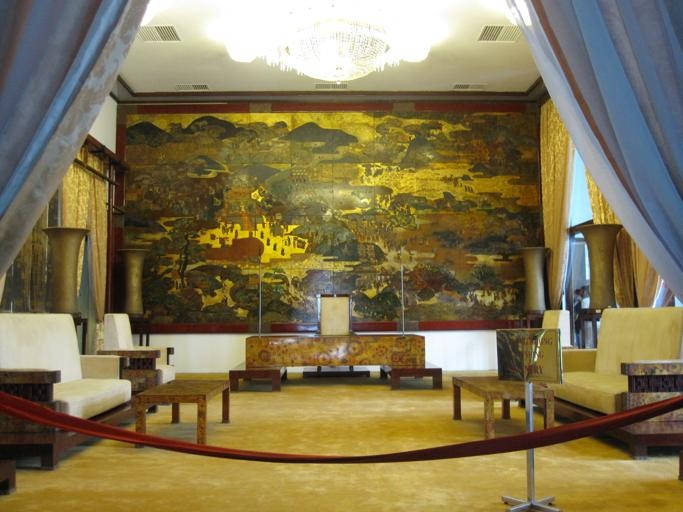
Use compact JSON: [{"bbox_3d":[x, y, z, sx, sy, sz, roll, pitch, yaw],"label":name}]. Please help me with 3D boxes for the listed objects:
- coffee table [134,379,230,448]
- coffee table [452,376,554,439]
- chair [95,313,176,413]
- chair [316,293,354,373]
[{"bbox_3d":[-1.424,1.410,5.046,0.616,0.434,0.799,-1,-4,3],"label":"coffee table"},{"bbox_3d":[1.470,1.362,5.121,0.786,0.529,1.364,-1,-4,8],"label":"coffee table"},{"bbox_3d":[-2.334,1.213,6.363,0.730,0.808,0.716,2,-9,-22],"label":"chair"},{"bbox_3d":[-0.071,0.853,7.940,0.565,0.716,0.535,0,-3,-1],"label":"chair"}]
